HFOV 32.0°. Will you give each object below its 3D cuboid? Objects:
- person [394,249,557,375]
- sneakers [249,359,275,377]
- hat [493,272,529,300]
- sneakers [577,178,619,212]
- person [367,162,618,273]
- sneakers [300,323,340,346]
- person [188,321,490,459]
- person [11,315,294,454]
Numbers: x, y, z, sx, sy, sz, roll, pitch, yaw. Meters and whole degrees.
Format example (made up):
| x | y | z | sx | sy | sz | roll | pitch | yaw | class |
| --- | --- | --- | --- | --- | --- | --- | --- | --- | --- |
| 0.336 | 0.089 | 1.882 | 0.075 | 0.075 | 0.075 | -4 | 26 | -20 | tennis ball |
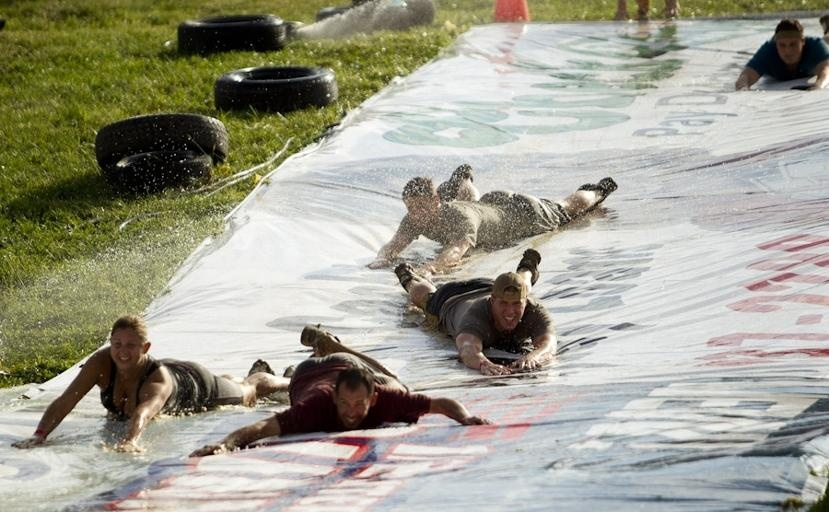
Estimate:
| x | y | z | sx | sy | sz | roll | pitch | yaw | class |
| --- | --- | --- | --- | --- | --- | --- | --- | --- | --- |
| 0.875 | 0.670 | 15.771 | 1.192 | 0.519 | 1.480 | -7 | 28 | -17 | person |
| -1.567 | 1.192 | 15.396 | 0.264 | 0.064 | 0.157 | 3 | 28 | 8 | sneakers |
| 1.072 | 0.346 | 15.636 | 0.391 | 0.313 | 0.222 | -3 | 20 | -4 | hat |
| 2.328 | -0.766 | 18.005 | 0.607 | 0.130 | 0.287 | -32 | 65 | -9 | sneakers |
| 1.094 | -0.629 | 17.619 | 3.210 | 0.861 | 1.128 | -21 | 18 | -31 | person |
| -0.992 | 0.848 | 15.590 | 0.418 | 0.153 | 0.243 | 9 | -17 | -20 | sneakers |
| -0.658 | 1.478 | 14.718 | 2.062 | 0.530 | 1.435 | -3 | 16 | -16 | person |
| -2.632 | 1.357 | 14.936 | 1.249 | 0.702 | 2.476 | 0 | 2 | 38 | person |
